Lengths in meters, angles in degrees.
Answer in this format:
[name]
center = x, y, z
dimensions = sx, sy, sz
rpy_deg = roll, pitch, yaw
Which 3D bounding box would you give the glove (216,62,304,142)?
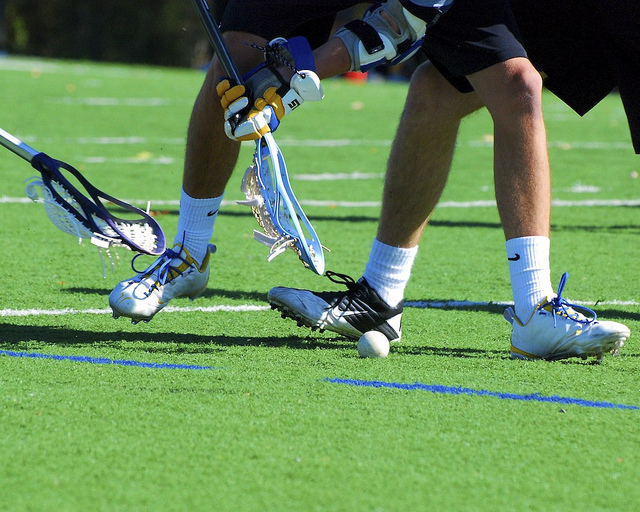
[glove]
center = -0.176, -0.448, 2.357
dimensions = 0.255, 0.132, 0.212
rpy_deg = -24, 60, -11

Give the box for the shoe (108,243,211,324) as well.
[shoe]
center = -0.591, 0.081, 2.815
dimensions = 0.172, 0.237, 0.481
rpy_deg = 25, 23, 26

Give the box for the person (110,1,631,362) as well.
[person]
center = 0.048, -0.330, 2.831
dimensions = 1.466, 1.230, 1.695
rpy_deg = -4, 15, -18

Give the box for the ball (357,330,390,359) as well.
[ball]
center = 0.168, 0.296, 2.513
dimensions = 0.095, 0.088, 0.086
rpy_deg = 15, 24, -7
